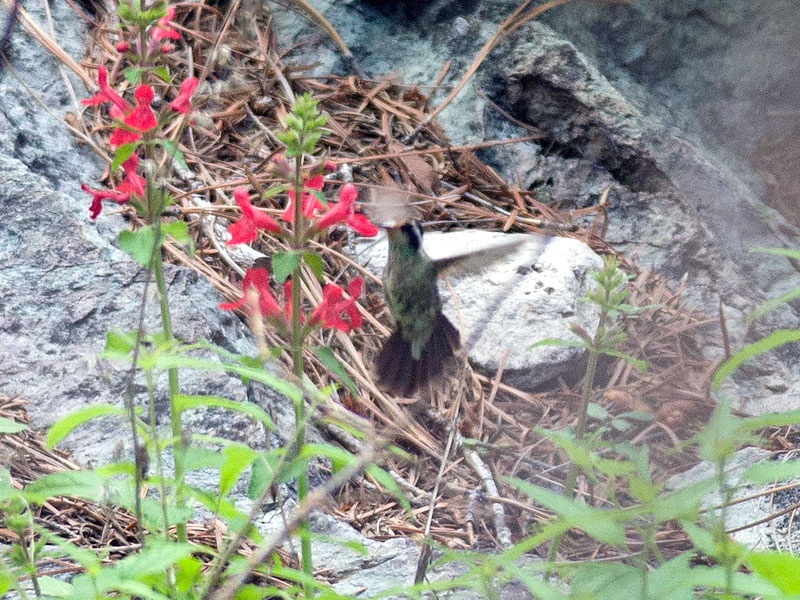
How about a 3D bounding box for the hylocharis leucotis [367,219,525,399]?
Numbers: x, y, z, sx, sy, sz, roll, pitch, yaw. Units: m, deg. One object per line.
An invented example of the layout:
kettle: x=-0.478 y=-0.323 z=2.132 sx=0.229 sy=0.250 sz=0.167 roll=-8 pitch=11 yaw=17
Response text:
hylocharis leucotis: x=0.152 y=0.004 z=4.464 sx=0.614 sy=0.800 sz=0.217 roll=-17 pitch=30 yaw=-28
